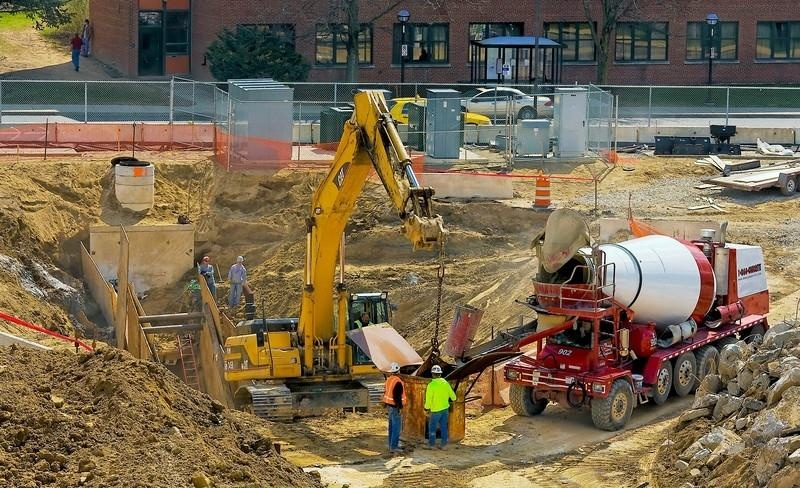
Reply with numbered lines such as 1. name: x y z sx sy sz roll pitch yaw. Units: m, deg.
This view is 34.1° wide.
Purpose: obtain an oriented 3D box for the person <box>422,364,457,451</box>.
1. person: 1.112 4.910 39.751 0.860 2.547 0.537 -2 8 -1

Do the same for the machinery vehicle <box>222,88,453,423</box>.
1. machinery vehicle: -1.947 0.291 41.759 8.557 10.314 6.464 1 8 17

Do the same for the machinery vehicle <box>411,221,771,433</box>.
1. machinery vehicle: 5.911 2.270 43.628 14.243 6.957 4.727 -6 6 -35

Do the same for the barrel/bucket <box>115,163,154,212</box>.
1. barrel/bucket: -11.195 -2.449 54.729 1.868 2.017 1.837 1 5 0

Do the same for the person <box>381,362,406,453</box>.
1. person: -0.187 4.987 39.737 0.692 2.379 0.853 -1 -2 10

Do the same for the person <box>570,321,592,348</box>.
1. person: 5.593 2.781 40.953 0.660 0.786 0.387 2 9 28
